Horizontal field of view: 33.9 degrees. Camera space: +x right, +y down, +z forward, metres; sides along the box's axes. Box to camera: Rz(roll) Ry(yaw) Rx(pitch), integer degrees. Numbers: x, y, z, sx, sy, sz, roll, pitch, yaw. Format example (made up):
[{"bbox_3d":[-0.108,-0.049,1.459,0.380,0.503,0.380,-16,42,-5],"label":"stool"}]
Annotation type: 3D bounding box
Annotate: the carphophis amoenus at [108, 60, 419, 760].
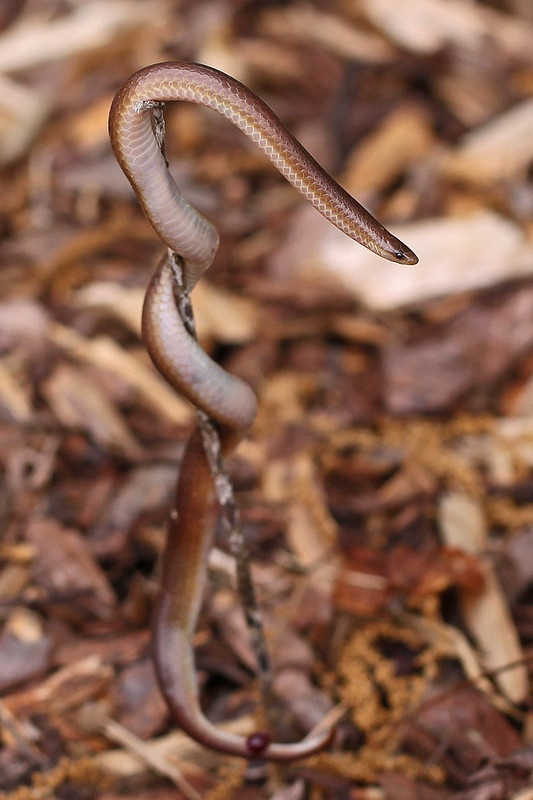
[{"bbox_3d":[-0.022,0.049,1.102,0.369,0.894,0.195,5,16,4],"label":"carphophis amoenus"}]
